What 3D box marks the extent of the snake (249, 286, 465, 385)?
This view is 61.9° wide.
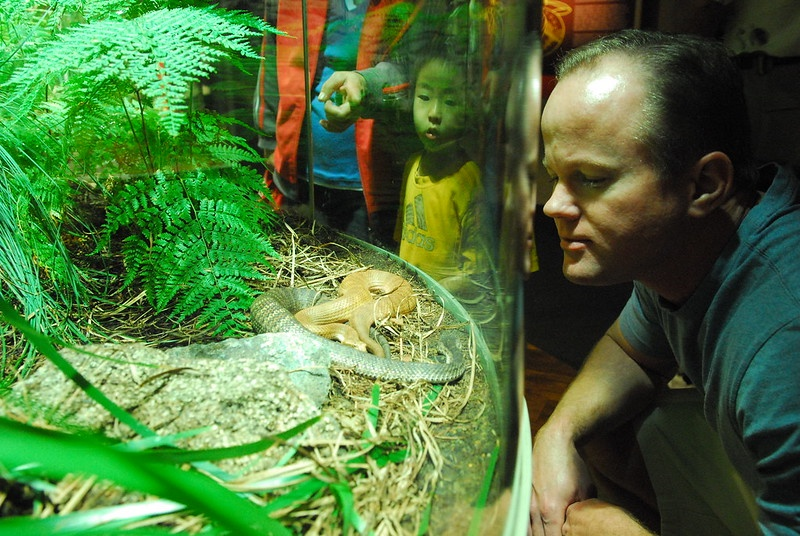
[{"bbox_3d":[-0.047,0.261,2.468,0.634,0.135,0.765,22,14,17],"label":"snake"}]

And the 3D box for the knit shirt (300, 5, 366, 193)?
[{"bbox_3d":[-0.283,-0.635,2.474,0.168,0.584,0.318,9,15,21],"label":"knit shirt"}]

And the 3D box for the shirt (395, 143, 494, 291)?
[{"bbox_3d":[0.113,-0.162,2.251,0.153,0.409,0.420,-15,30,-41],"label":"shirt"}]
